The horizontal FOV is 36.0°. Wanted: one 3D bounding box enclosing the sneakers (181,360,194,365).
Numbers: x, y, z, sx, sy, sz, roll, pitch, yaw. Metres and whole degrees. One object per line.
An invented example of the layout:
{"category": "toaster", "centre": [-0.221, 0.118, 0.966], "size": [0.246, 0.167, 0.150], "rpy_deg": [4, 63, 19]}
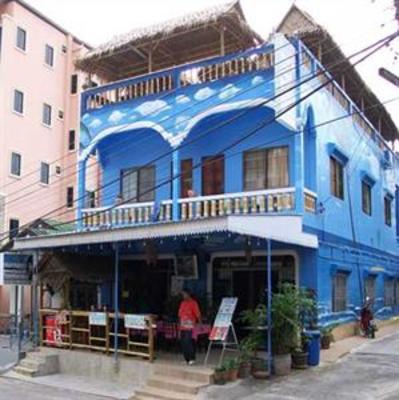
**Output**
{"category": "sneakers", "centre": [-0.302, 4.247, 16.115], "size": [0.336, 0.179, 0.126], "rpy_deg": [1, -8, 18]}

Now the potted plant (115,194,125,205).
{"category": "potted plant", "centre": [-2.756, -0.002, 21.432], "size": [0.280, 0.653, 0.332], "rpy_deg": [0, -16, -5]}

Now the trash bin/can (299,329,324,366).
{"category": "trash bin/can", "centre": [2.823, 3.935, 16.306], "size": [0.702, 1.100, 0.698], "rpy_deg": [1, -10, -8]}

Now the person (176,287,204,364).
{"category": "person", "centre": [-0.276, 3.356, 16.368], "size": [0.551, 2.004, 0.612], "rpy_deg": [1, -11, -16]}

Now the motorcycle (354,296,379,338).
{"category": "motorcycle", "centre": [5.906, 4.325, 21.498], "size": [0.677, 1.041, 1.521], "rpy_deg": [-2, -27, 4]}
